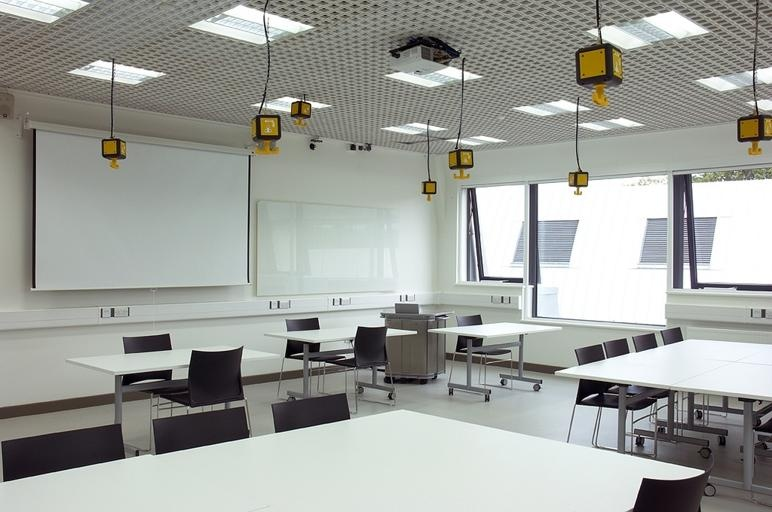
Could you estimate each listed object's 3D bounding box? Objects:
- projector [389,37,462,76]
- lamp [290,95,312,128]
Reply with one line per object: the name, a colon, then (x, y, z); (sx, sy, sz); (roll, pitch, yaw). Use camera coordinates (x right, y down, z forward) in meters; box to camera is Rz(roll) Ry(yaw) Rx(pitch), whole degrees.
projector: (0.389, -2.146, 5.896); (0.774, 0.271, 0.465); (1, 4, 8)
lamp: (-0.919, -1.560, 5.952); (0.173, 0.317, 0.366); (0, 4, -5)
